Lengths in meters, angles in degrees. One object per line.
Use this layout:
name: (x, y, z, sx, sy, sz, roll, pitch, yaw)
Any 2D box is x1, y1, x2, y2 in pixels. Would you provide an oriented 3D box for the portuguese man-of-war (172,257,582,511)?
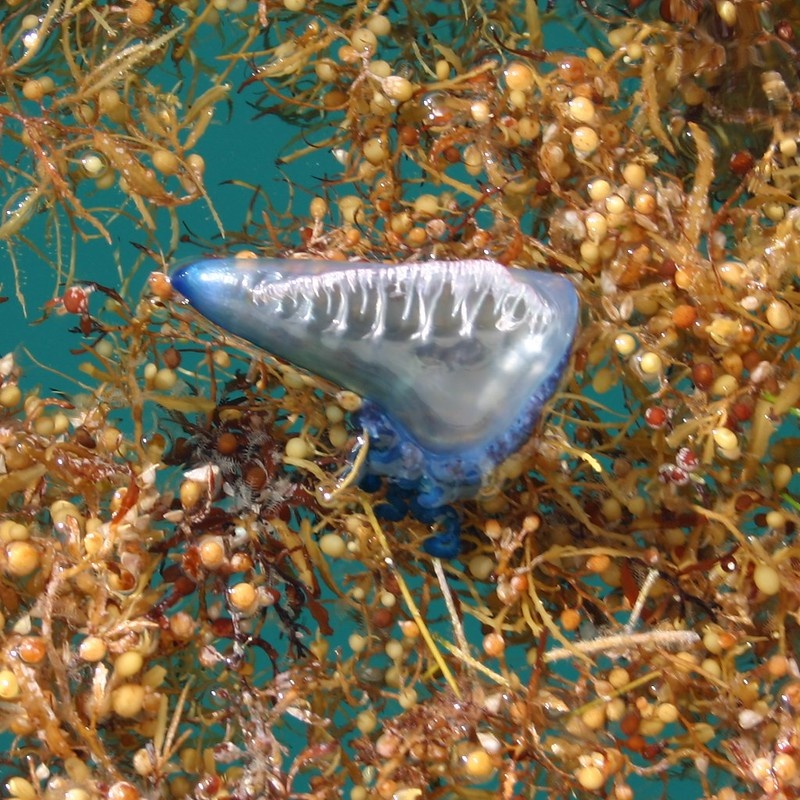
portuguese man-of-war: (-0.007, -0.052, 0.826, 0.348, 0.186, 0.212, -1, 48, 2)
